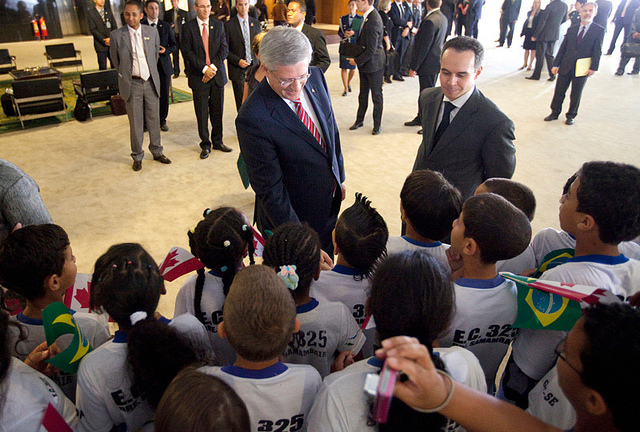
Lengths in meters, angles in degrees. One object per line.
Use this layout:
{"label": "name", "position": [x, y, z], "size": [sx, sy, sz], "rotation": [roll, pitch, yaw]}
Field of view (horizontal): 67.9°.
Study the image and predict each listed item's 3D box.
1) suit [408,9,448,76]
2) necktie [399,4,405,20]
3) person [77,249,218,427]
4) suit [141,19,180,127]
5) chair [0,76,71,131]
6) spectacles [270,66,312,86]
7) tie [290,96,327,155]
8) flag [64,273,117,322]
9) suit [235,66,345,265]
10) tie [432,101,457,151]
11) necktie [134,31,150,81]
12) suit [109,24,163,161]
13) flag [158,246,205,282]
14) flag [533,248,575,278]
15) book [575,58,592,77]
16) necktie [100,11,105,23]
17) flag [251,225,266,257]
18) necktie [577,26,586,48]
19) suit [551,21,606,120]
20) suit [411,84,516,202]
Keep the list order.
{"label": "suit", "position": [1.800, -2.903, 7.902], "size": [0.505, 1.006, 0.648], "rotation": [6, 25, 12]}
{"label": "necktie", "position": [1.709, -4.259, 9.840], "size": [0.083, 0.287, 0.154], "rotation": [16, 28, 32]}
{"label": "person", "position": [-0.881, 0.644, 2.440], "size": [0.646, 0.843, 0.421], "rotation": [-10, 42, -20]}
{"label": "suit", "position": [-2.546, -2.366, 7.447], "size": [0.581, 1.818, 0.546], "rotation": [7, 21, 16]}
{"label": "chair", "position": [-4.721, -2.007, 7.924], "size": [0.793, 0.711, 1.055], "rotation": [-13, 41, -28]}
{"label": "spectacles", "position": [-0.213, -0.947, 3.251], "size": [0.252, 0.096, 0.061], "rotation": [-1, 24, -3]}
{"label": "tie", "position": [-0.083, -0.700, 3.566], "size": [0.164, 0.520, 0.038], "rotation": [-21, -10, -19]}
{"label": "flag", "position": [-1.286, 0.456, 2.663], "size": [0.275, 0.247, 0.332], "rotation": [-9, 26, -29]}
{"label": "suit", "position": [-0.188, -0.308, 3.719], "size": [0.747, 1.452, 0.790], "rotation": [-9, 35, -20]}
{"label": "tie", "position": [0.990, -0.733, 3.808], "size": [0.048, 0.362, 0.119], "rotation": [21, 4, -21]}
{"label": "necktie", "position": [-2.270, -2.052, 6.025], "size": [0.117, 0.550, 0.187], "rotation": [-16, 28, -33]}
{"label": "suit", "position": [-2.359, -1.745, 6.238], "size": [0.537, 2.016, 0.491], "rotation": [-9, 15, -33]}
{"label": "flag", "position": [-0.893, 0.242, 3.041], "size": [0.286, 0.202, 0.308], "rotation": [7, 17, 28]}
{"label": "flag", "position": [1.417, 0.259, 2.895], "size": [0.108, 0.206, 0.129], "rotation": [28, 27, -48]}
{"label": "book", "position": [4.215, -2.413, 7.667], "size": [0.279, 0.292, 0.075], "rotation": [-3, 12, -22]}
{"label": "necktie", "position": [-4.312, -4.007, 9.452], "size": [0.033, 0.152, 0.116], "rotation": [-8, 13, -17]}
{"label": "flag", "position": [-0.397, 0.164, 3.074], "size": [0.119, 0.330, 0.037], "rotation": [39, 75, 16]}
{"label": "necktie", "position": [4.340, -3.034, 7.914], "size": [0.032, 0.240, 0.082], "rotation": [6, 9, -44]}
{"label": "suit", "position": [4.369, -2.527, 8.240], "size": [1.013, 1.530, 0.594], "rotation": [17, 32, 19]}
{"label": "suit", "position": [1.157, -0.566, 3.945], "size": [0.737, 0.983, 0.545], "rotation": [7, 36, 5]}
